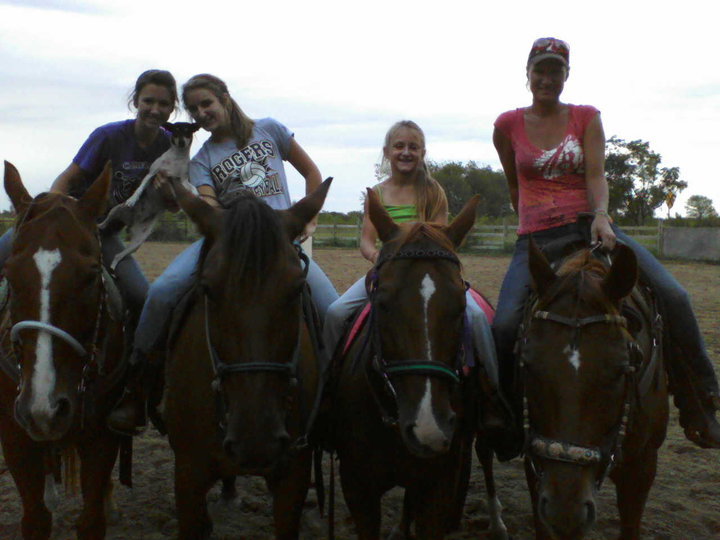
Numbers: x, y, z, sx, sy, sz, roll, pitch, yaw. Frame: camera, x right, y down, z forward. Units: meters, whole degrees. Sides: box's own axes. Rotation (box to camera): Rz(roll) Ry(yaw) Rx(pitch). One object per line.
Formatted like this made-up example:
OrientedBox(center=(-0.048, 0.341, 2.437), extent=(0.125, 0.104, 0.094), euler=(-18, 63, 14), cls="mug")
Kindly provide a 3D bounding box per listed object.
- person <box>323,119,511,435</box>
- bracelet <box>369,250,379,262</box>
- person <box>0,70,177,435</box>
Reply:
OrientedBox(center=(0.336, -0.053, 6.062), extent=(1.215, 2.112, 0.934), euler=(3, 3, -13), cls="person")
OrientedBox(center=(0.101, -0.107, 5.960), extent=(0.055, 0.089, 0.030), euler=(-11, -28, 39), cls="bracelet")
OrientedBox(center=(-1.865, 0.131, 5.580), extent=(0.636, 2.405, 1.169), euler=(35, 38, 29), cls="person")
